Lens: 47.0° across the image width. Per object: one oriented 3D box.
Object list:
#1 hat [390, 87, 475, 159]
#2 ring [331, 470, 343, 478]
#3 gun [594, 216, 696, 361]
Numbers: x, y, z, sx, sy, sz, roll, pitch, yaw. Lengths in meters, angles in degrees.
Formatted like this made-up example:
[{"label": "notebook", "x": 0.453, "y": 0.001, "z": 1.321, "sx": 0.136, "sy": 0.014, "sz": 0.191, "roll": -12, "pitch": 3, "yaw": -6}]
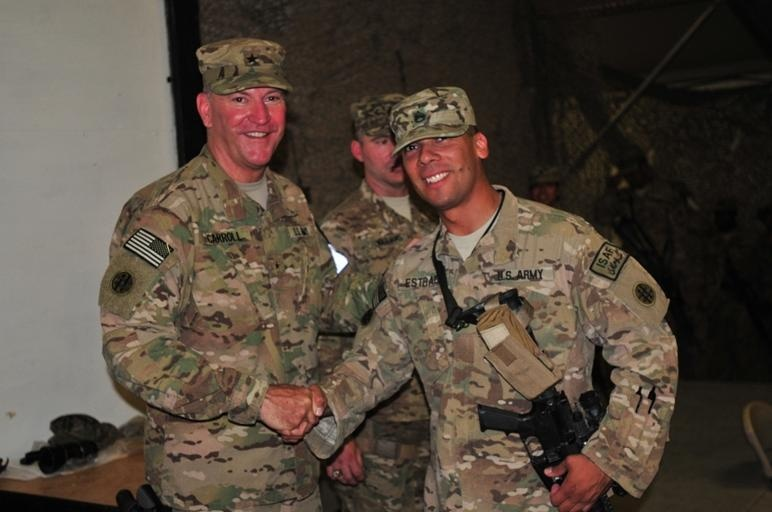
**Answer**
[{"label": "hat", "x": 0.319, "y": -0.826, "z": 5.482, "sx": 0.383, "sy": 0.247, "sz": 0.494, "roll": -22, "pitch": -4, "yaw": 31}, {"label": "ring", "x": -0.332, "y": 1.499, "z": 6.098, "sx": 0.065, "sy": 0.048, "sz": 0.023, "roll": -44, "pitch": 15, "yaw": 7}, {"label": "gun", "x": 1.922, "y": 0.179, "z": 6.639, "sx": 0.302, "sy": 1.426, "sz": 0.410, "roll": -37, "pitch": 15, "yaw": 0}]
